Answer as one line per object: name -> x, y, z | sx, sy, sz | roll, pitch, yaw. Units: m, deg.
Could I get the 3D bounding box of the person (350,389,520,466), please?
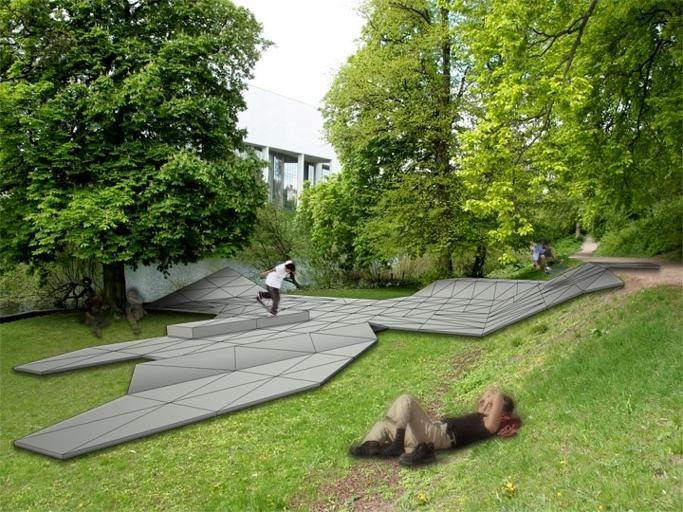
person -> 1.537, 2.773, 7.724 | 1.946, 0.785, 1.306 | -1, -4, 8

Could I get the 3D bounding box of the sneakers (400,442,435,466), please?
sneakers -> 1.168, 3.053, 7.487 | 0.651, 0.231, 0.272 | -14, -12, -5

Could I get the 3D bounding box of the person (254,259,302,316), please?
person -> -1.887, 0.862, 14.448 | 1.027, 1.708, 0.771 | 23, 11, -1

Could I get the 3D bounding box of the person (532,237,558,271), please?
person -> 8.987, -0.160, 21.554 | 0.572, 1.246, 0.835 | -31, 30, -22
